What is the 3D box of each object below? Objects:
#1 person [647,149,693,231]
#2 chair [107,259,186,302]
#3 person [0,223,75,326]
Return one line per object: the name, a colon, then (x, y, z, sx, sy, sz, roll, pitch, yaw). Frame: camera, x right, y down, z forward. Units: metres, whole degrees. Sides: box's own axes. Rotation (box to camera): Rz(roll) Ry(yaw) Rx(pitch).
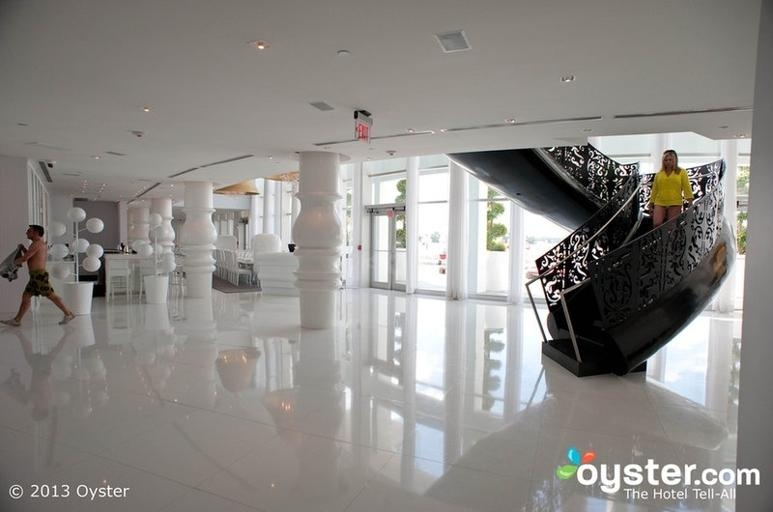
person: (4.515, -1.048, 7.165, 0.557, 1.171, 0.332, 5, 8, 33)
chair: (-6.836, 0.632, 12.189, 1.315, 0.799, 1.307, 0, 8, -6)
person: (-6.509, 0.361, 8.417, 1.014, 1.831, 0.575, -4, 8, -35)
